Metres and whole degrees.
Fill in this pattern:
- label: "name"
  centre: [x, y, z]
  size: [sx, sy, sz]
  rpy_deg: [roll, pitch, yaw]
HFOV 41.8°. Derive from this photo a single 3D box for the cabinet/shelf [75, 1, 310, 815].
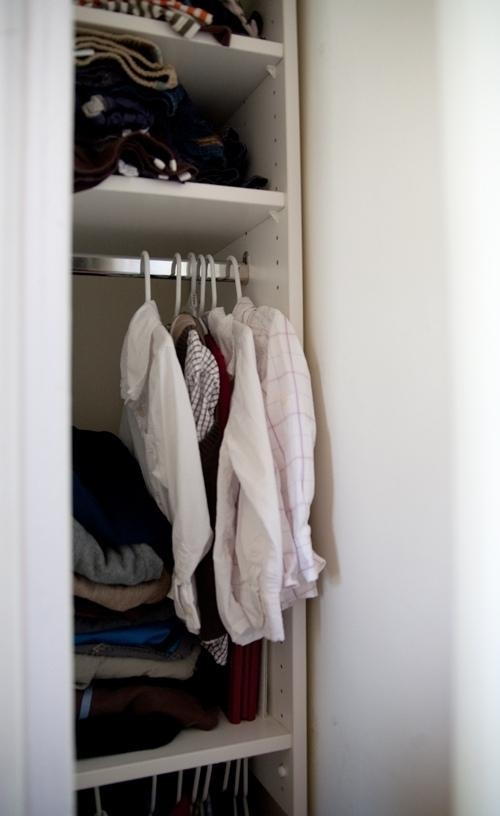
- label: "cabinet/shelf"
  centre: [-0.137, -0.026, 1.219]
  size: [0.381, 1.388, 0.624]
  rpy_deg: [-3, 4, -16]
